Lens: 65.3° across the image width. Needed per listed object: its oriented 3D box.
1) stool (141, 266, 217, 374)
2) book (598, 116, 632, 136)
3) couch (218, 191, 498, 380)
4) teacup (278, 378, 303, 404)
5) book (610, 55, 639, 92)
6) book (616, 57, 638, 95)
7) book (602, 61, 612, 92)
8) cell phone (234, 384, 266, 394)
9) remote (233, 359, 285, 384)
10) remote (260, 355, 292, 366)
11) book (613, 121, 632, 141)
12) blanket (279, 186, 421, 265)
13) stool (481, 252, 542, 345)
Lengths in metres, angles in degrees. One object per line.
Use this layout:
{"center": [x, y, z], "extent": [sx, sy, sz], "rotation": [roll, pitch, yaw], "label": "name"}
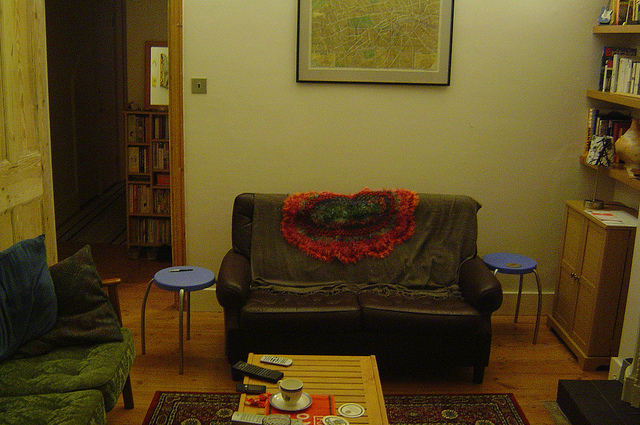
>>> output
{"center": [-1.172, 0.937, 4.215], "extent": [0.586, 0.725, 0.612], "rotation": [14, 20, 33], "label": "stool"}
{"center": [2.547, -0.736, 4.291], "extent": [0.245, 0.200, 0.075], "rotation": [-1, 9, -7], "label": "book"}
{"center": [0.308, 0.600, 4.141], "extent": [2.248, 1.258, 1.052], "rotation": [1, 20, 0], "label": "couch"}
{"center": [-0.163, 1.054, 2.848], "extent": [0.131, 0.097, 0.131], "rotation": [-1, -13, 8], "label": "teacup"}
{"center": [2.534, -1.180, 4.242], "extent": [0.066, 0.247, 0.282], "rotation": [5, 2, 22], "label": "book"}
{"center": [2.528, -1.131, 4.136], "extent": [0.074, 0.280, 0.307], "rotation": [7, 5, 25], "label": "book"}
{"center": [2.513, -1.189, 4.354], "extent": [0.050, 0.200, 0.205], "rotation": [6, 4, 30], "label": "book"}
{"center": [-0.407, 1.033, 2.924], "extent": [0.125, 0.024, 0.068], "rotation": [2, 9, -1], "label": "cell phone"}
{"center": [-0.385, 0.976, 3.070], "extent": [0.275, 0.051, 0.120], "rotation": [6, 13, 15], "label": "remote"}
{"center": [-0.278, 0.940, 3.181], "extent": [0.145, 0.018, 0.073], "rotation": [2, 5, 9], "label": "remote"}
{"center": [2.547, -0.680, 4.187], "extent": [0.217, 0.191, 0.069], "rotation": [-7, 6, -37], "label": "book"}
{"center": [0.276, 0.101, 4.247], "extent": [1.160, 0.594, 0.062], "rotation": [0, -12, 1], "label": "blanket"}
{"center": [1.691, 0.743, 4.419], "extent": [0.558, 0.720, 0.475], "rotation": [6, 18, 18], "label": "stool"}
